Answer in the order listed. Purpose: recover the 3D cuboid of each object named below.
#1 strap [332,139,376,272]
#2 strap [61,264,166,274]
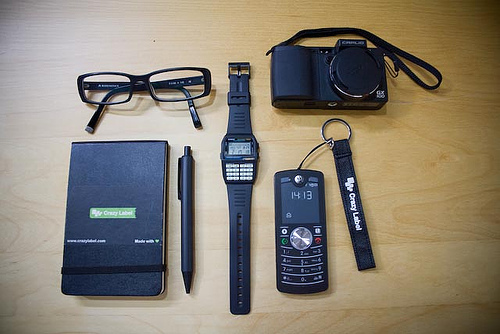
[{"bbox_3d":[0.316,0.117,1.342,0.078,0.035,0.402,-9,87,-20],"label":"strap"},{"bbox_3d":[-0.409,0.312,1.303,0.308,0.017,0.022,-2,62,1],"label":"strap"}]
